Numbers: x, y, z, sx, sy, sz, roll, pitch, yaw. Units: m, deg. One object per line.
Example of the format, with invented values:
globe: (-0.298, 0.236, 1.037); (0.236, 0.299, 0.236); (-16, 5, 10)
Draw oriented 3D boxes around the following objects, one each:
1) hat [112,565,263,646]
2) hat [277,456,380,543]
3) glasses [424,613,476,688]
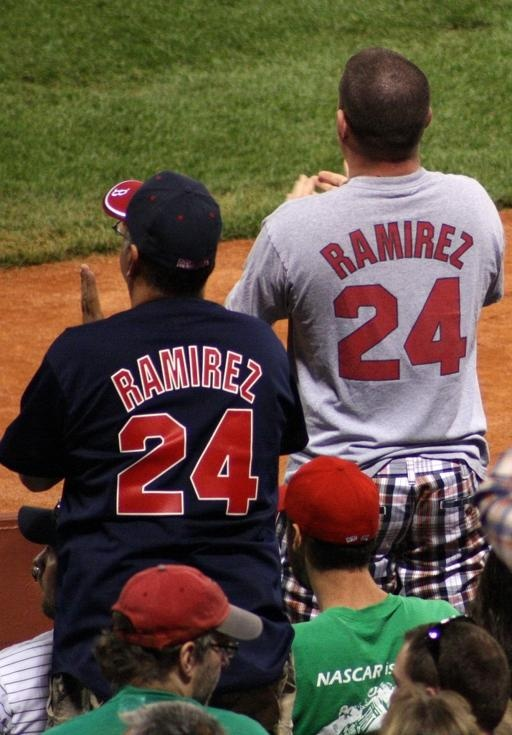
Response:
hat: (-0.169, 0.512, 2.637); (0.413, 0.144, 0.239); (4, 5, -35)
hat: (0.204, 0.346, 3.206); (0.216, 0.135, 0.264); (-6, 24, -24)
glasses: (0.434, 0.616, 2.631); (0.130, 0.112, 0.035); (-2, 32, -44)
